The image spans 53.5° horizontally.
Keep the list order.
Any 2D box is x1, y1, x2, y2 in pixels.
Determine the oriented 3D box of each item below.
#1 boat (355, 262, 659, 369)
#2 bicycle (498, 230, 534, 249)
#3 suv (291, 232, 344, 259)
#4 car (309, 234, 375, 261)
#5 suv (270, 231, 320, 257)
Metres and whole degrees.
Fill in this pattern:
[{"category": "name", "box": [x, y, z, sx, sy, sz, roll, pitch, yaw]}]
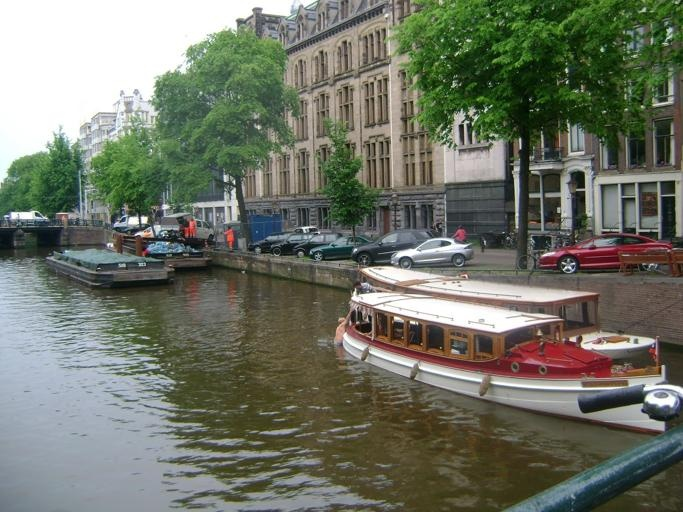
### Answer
[{"category": "boat", "box": [3.746, 2.640, 22.299, 2.717, 1.827, 12.909, -1, 2, -31]}, {"category": "bicycle", "box": [10.912, -0.928, 42.423, 1.940, 0.982, 0.931, 1, 3, 17]}, {"category": "suv", "box": [-1.590, -0.698, 43.568, 2.781, 1.138, 1.511, 1, 5, 7]}, {"category": "car", "box": [-0.382, -0.390, 40.447, 4.279, 1.318, 1.680, 0, 1, -22]}, {"category": "suv", "box": [-3.462, -0.735, 45.888, 2.747, 1.146, 1.467, 0, 3, 3]}]
